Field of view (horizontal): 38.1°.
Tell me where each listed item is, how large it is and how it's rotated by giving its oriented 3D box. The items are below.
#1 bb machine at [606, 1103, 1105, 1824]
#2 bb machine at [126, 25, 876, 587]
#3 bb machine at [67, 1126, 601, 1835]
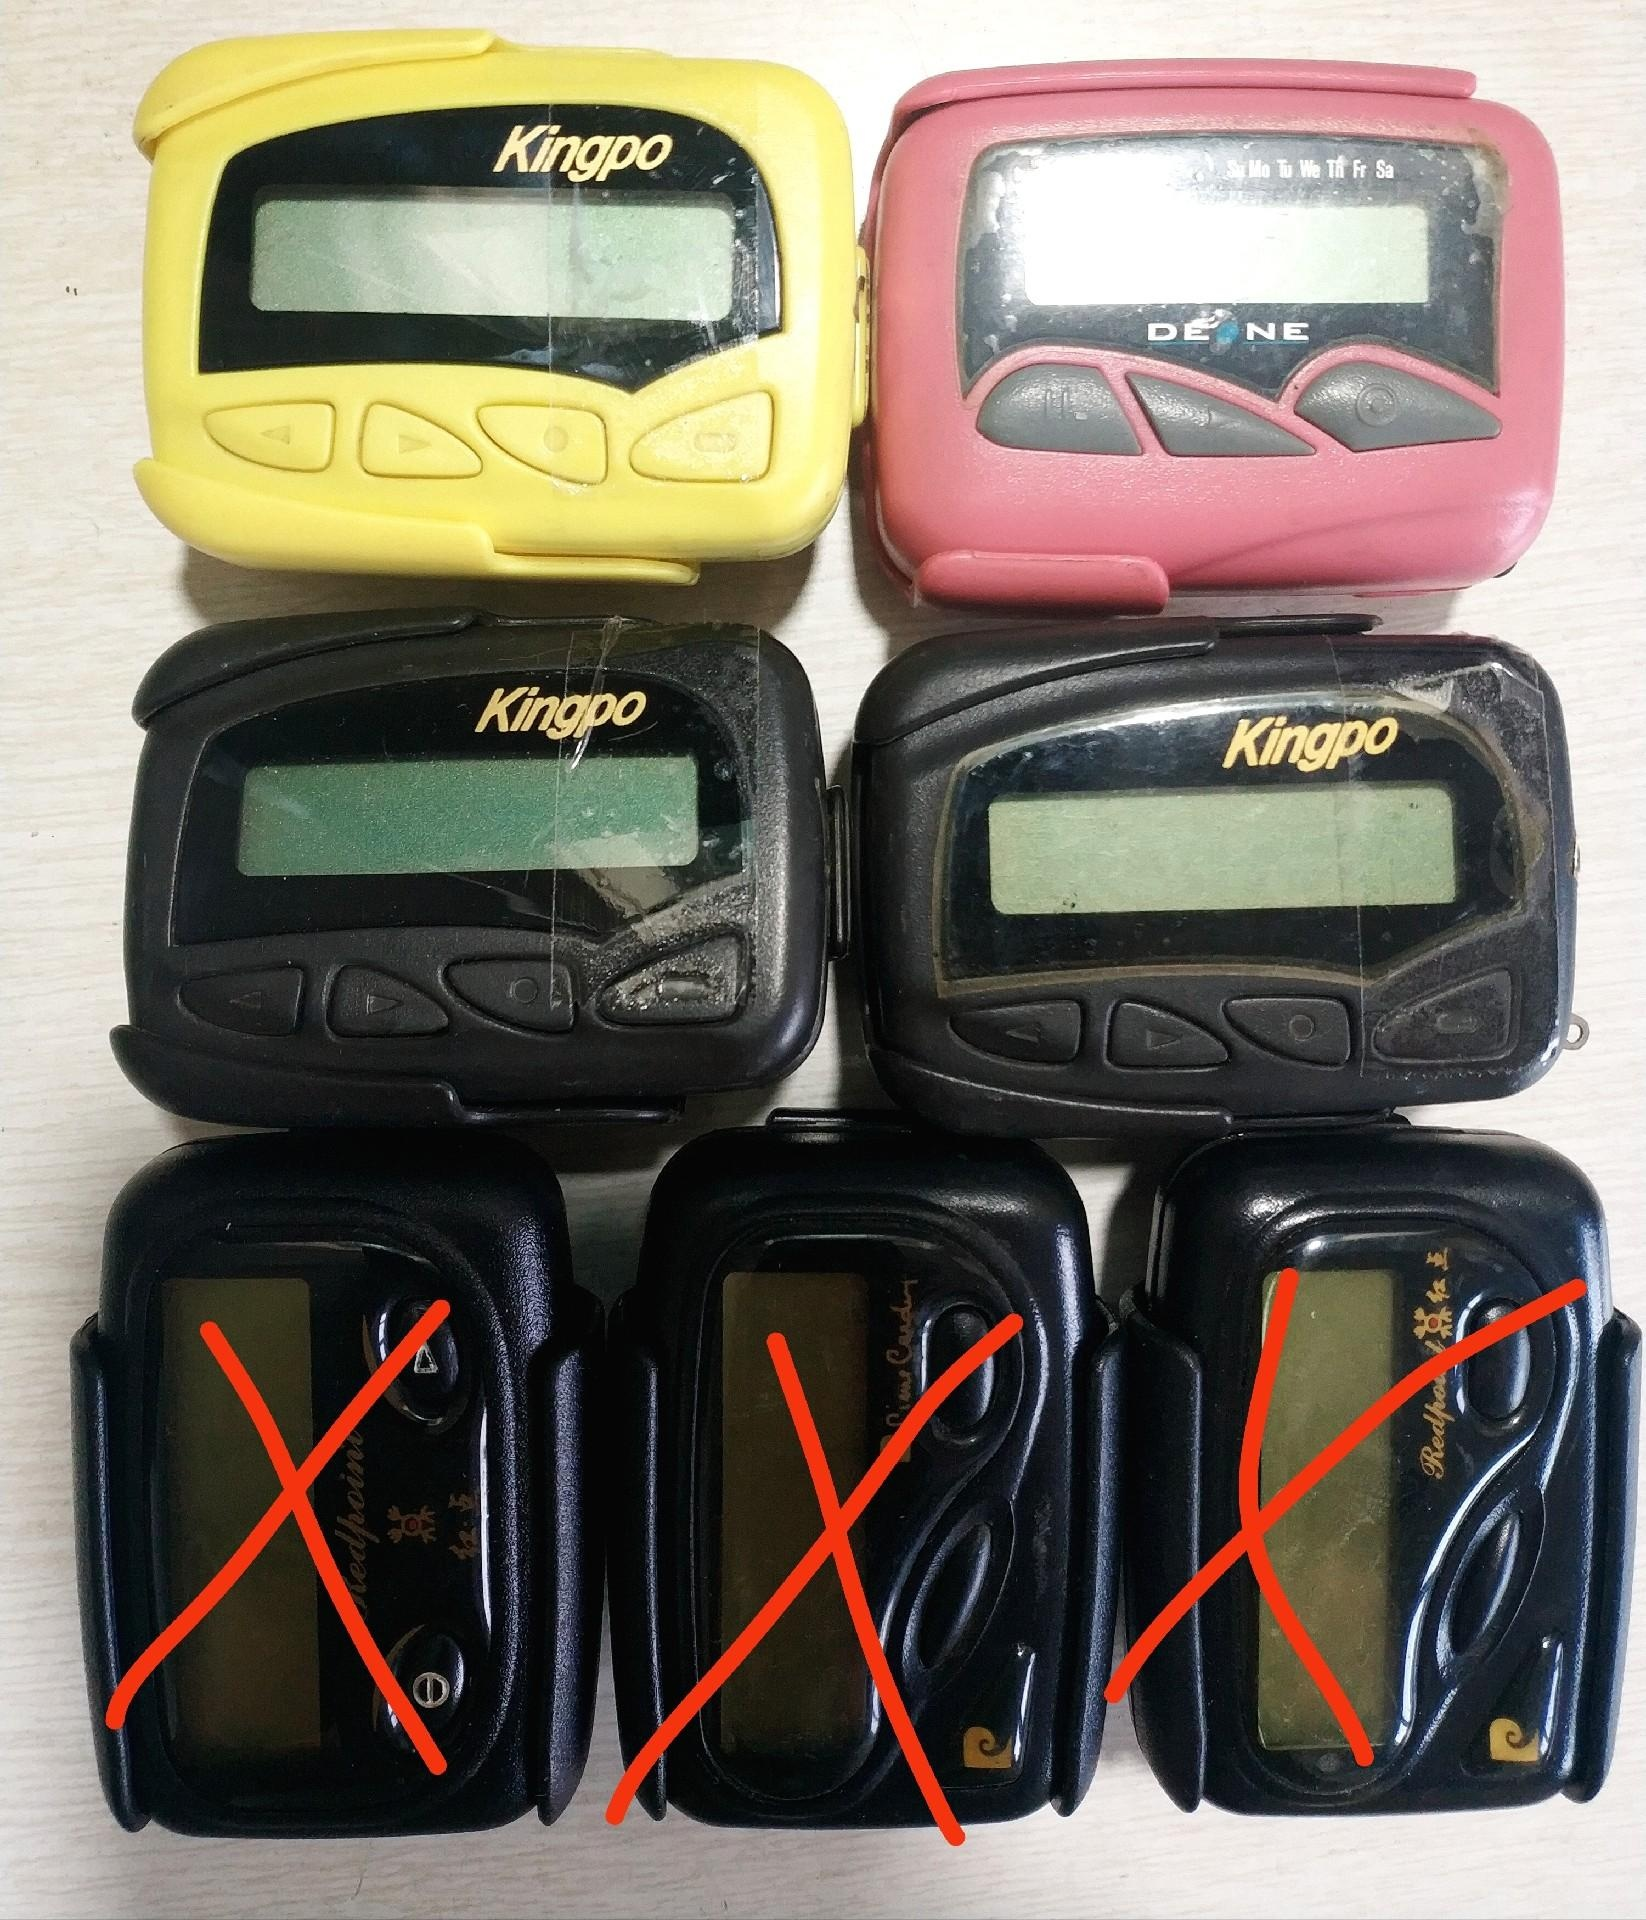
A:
[{"bbox_3d":[0.018,0.219,1.118,0.256,0.102,0.286,-1,91,2],"label":"bb machine"},{"bbox_3d":[-0.128,-0.302,1.107,0.412,0.128,0.272,6,95,23],"label":"bb machine"},{"bbox_3d":[-0.222,0.235,1.079,0.228,0.110,0.307,-1,73,2],"label":"bb machine"}]
